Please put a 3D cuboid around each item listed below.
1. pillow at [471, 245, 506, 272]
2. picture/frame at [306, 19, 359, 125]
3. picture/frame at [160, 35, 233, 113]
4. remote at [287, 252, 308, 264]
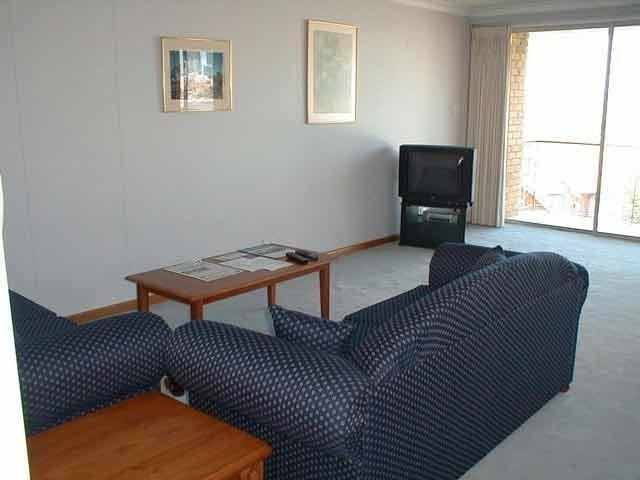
[{"bbox_3d":[0.959,0.108,2.699,0.157,0.061,0.133,-46,9,-37],"label":"pillow"},{"bbox_3d":[0.130,-1.950,5.517,0.792,1.170,0.111,-11,18,-43],"label":"picture/frame"},{"bbox_3d":[-1.185,-1.562,4.384,0.854,0.716,0.082,-10,17,-42],"label":"picture/frame"},{"bbox_3d":[-0.177,0.136,3.590,0.069,0.044,0.224,-22,15,-20],"label":"remote"}]
